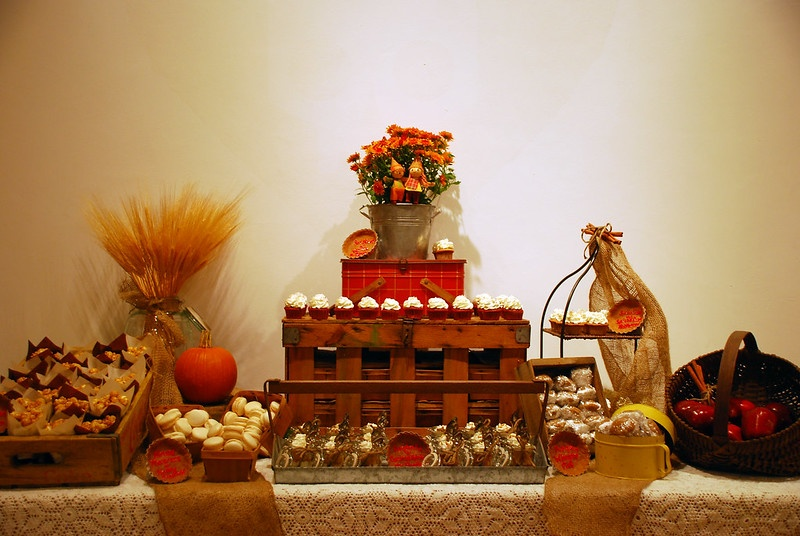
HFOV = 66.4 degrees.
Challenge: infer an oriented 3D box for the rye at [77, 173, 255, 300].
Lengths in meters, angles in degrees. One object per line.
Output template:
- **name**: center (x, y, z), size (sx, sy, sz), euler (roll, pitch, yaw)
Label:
- **rye**: center (-1.244, -0.143, 3.239), size (0.737, 0.648, 0.517), euler (2, -9, -11)

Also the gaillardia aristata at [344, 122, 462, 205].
- **gaillardia aristata**: center (0.009, -0.540, 3.230), size (0.564, 0.494, 0.397), euler (0, -8, 4)

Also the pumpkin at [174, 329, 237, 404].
- **pumpkin**: center (-0.942, 0.470, 2.973), size (0.323, 0.399, 0.317), euler (-3, -9, 33)
